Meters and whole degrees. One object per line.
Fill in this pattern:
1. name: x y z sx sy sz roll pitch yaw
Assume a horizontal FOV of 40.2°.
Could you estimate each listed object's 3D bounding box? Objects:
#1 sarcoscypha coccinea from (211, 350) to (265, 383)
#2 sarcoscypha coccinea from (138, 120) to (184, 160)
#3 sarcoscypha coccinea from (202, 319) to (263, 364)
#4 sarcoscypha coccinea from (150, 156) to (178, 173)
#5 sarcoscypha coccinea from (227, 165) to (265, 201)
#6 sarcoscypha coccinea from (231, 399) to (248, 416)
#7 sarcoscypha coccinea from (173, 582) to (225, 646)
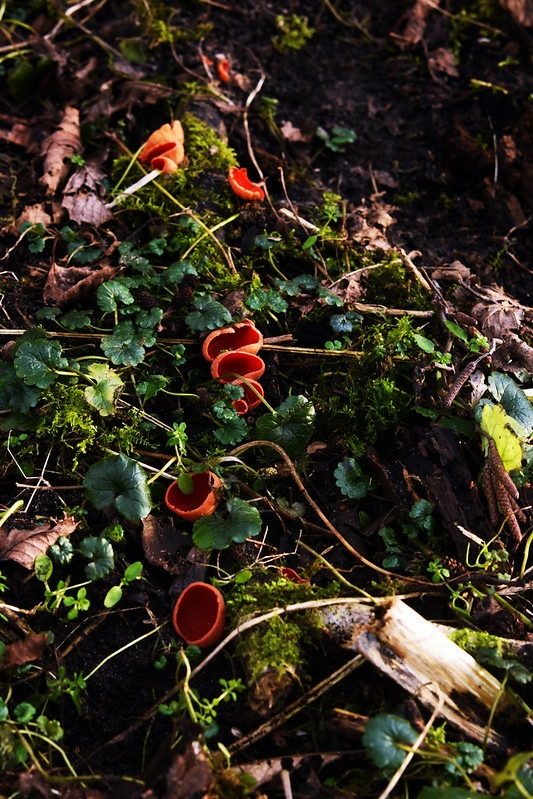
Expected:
1. sarcoscypha coccinea: -0.114 -0.141 3.015 0.201 0.116 0.113 0 95 -6
2. sarcoscypha coccinea: -0.480 -1.170 3.393 0.097 0.205 0.158 44 55 -21
3. sarcoscypha coccinea: -0.178 -0.245 3.031 0.273 0.113 0.142 -18 97 -13
4. sarcoscypha coccinea: -0.468 -1.066 3.303 0.093 0.070 0.069 16 18 24
5. sarcoscypha coccinea: -0.106 -0.992 3.385 0.182 0.077 0.158 23 43 -37
6. sarcoscypha coccinea: -0.108 0.031 3.000 0.064 0.046 0.064 -26 95 2
7. sarcoscypha coccinea: -0.285 0.790 2.683 0.204 0.146 0.213 18 47 -16
